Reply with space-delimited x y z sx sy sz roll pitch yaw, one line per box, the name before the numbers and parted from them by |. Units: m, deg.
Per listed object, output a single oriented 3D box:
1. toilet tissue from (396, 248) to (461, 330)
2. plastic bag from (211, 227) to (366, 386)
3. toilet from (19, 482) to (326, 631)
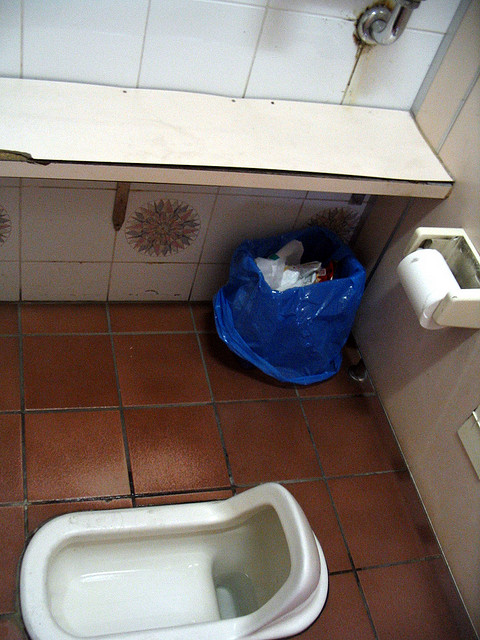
toilet tissue | 0.434 -0.086 1.130 0.064 0.104 0.187 35 30 -38
plastic bag | 0.164 -0.054 1.634 0.467 0.386 0.491 -15 40 -17
toilet | -0.138 0.502 1.070 0.603 0.337 0.340 -2 55 -23
